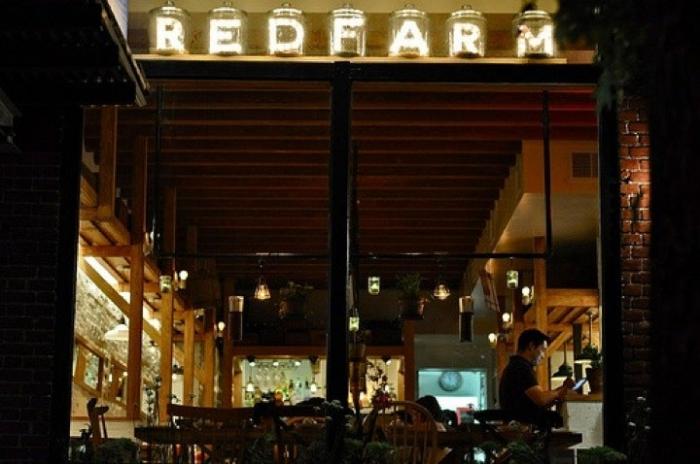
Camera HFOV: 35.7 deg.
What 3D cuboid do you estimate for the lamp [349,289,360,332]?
[{"bbox_3d":[0.020,0.924,12.428,0.121,0.430,0.118,-3,-2,8],"label":"lamp"}]

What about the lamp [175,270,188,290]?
[{"bbox_3d":[-2.623,0.736,16.869,0.192,0.372,0.189,8,-31,-8],"label":"lamp"}]

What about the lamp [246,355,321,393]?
[{"bbox_3d":[-1.442,3.042,22.370,1.727,0.910,1.130,0,-2,0],"label":"lamp"}]

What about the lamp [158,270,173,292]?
[{"bbox_3d":[-2.492,0.640,14.285,0.250,0.262,0.249,0,-11,1],"label":"lamp"}]

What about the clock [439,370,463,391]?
[{"bbox_3d":[2.280,3.425,24.766,0.562,0.425,0.278,-2,-19,4],"label":"clock"}]

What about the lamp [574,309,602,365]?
[{"bbox_3d":[3.204,1.402,14.494,0.400,0.684,0.383,5,-11,-6],"label":"lamp"}]

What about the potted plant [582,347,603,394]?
[{"bbox_3d":[2.939,1.625,13.087,0.282,0.638,0.274,-3,-9,-2],"label":"potted plant"}]

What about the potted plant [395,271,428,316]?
[{"bbox_3d":[0.688,0.713,11.926,0.480,0.533,0.463,-1,-16,7],"label":"potted plant"}]
